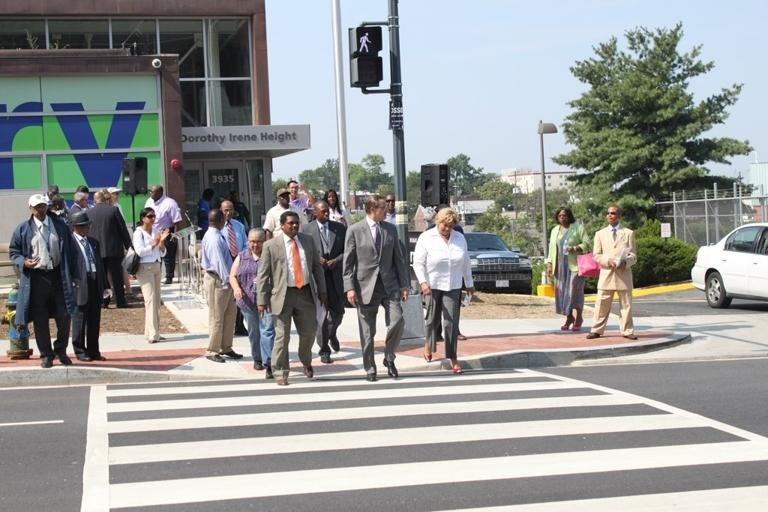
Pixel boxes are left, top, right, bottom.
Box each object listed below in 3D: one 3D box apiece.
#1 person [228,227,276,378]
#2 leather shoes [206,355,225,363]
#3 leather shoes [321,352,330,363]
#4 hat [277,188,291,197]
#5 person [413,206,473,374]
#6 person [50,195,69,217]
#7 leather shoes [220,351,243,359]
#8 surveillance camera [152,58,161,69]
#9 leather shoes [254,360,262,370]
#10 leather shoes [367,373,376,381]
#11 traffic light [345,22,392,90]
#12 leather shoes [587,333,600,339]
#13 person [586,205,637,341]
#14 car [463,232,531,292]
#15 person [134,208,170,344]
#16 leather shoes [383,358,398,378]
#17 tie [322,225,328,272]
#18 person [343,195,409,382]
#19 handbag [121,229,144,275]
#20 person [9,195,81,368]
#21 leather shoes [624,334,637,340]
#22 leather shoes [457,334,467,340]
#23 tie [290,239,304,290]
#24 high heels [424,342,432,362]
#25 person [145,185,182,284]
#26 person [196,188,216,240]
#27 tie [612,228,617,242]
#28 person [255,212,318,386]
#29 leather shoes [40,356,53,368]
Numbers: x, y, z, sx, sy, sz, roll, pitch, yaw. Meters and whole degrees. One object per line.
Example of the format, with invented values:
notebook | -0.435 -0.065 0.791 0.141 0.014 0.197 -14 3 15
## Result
person | -2.061 0.759 15.279 1.003 2.556 0.850 -5 23 -7
leather shoes | -2.921 1.803 16.072 0.344 0.150 0.117 -2 0 35
leather shoes | -1.003 1.783 16.121 0.146 0.143 0.141 -6 -9 17
hat | -1.894 -1.192 17.654 0.213 0.117 0.310 -8 -8 -9
person | 1.007 0.603 15.318 0.992 2.797 0.853 4 10 27
person | -6.319 -0.954 18.062 0.369 0.327 0.936 9 6 -13
leather shoes | -2.684 1.759 16.358 0.394 0.179 0.138 3 0 -7
surveillance camera | -6.617 -5.599 27.044 0.262 0.301 0.096 -3 9 -16
leather shoes | -2.112 1.859 15.597 0.143 0.150 0.101 -2 7 -10
leather shoes | -0.187 1.972 14.922 0.102 0.106 0.138 0 -6 -12
traffic light | -0.333 -3.565 16.668 0.565 1.129 0.297 0 9 0
leather shoes | 4.039 1.563 17.932 0.276 0.120 0.097 3 -3 -26
person | 4.456 0.335 17.904 0.908 2.603 0.846 2 9 16
car | 3.192 0.209 26.553 1.203 1.253 2.668 0 -5 -10
person | -4.458 0.371 17.646 0.570 2.542 1.015 -1 9 -3
leather shoes | 0.133 1.847 15.106 0.141 0.192 0.433 -3 23 -31
tie | -0.985 -0.167 15.893 0.184 0.686 0.227 -1 9 -3
person | -0.123 0.542 14.882 1.042 2.968 0.551 -1 9 -2
handbag | -4.662 -0.034 17.164 0.390 0.955 0.673 4 -5 -12
person | -5.531 0.432 15.193 1.033 2.754 0.573 -4 9 -22
leather shoes | 4.745 1.570 17.873 0.097 0.121 0.294 0 -5 -21
leather shoes | 1.514 1.580 17.882 0.097 0.119 0.272 1 -3 -10
tie | -1.347 0.118 14.460 0.214 0.730 0.133 0 9 1
high heels | 0.758 1.668 15.939 0.134 0.352 0.106 1 0 -12
person | -5.419 -0.467 22.486 0.908 2.433 0.911 2 18 2
person | -4.820 -0.948 25.188 0.595 1.741 0.598 0 24 -15
tie | 4.381 -0.416 17.650 0.101 0.207 0.080 2 9 16
person | -1.462 0.677 14.659 1.068 2.746 0.465 -2 9 -9
leather shoes | -5.515 1.738 15.133 0.195 0.164 0.200 -1 9 -6
